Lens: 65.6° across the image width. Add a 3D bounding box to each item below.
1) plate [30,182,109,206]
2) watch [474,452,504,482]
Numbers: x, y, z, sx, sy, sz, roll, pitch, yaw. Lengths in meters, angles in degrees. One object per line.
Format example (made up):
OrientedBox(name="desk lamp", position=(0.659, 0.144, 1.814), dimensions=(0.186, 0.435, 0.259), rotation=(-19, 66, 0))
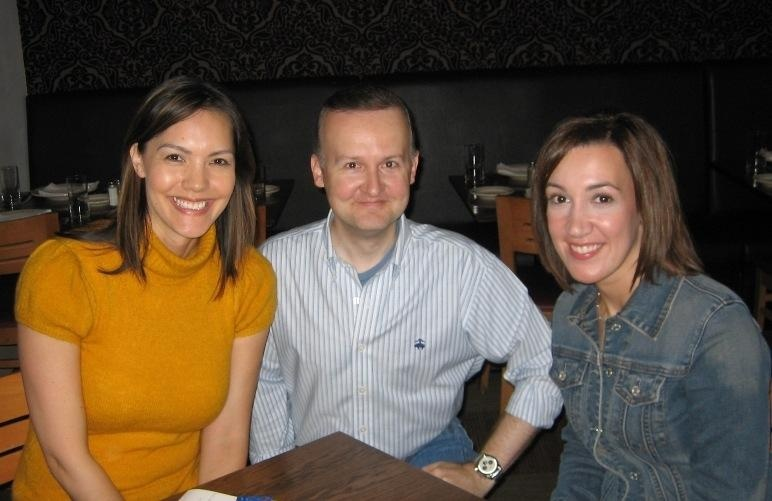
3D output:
OrientedBox(name="plate", position=(-2.030, -0.356, 3.882), dimensions=(0.299, 0.081, 0.321), rotation=(3, 4, 35))
OrientedBox(name="watch", position=(0.343, 0.725, 2.004), dimensions=(0.075, 0.025, 0.086), rotation=(-33, 60, -27))
